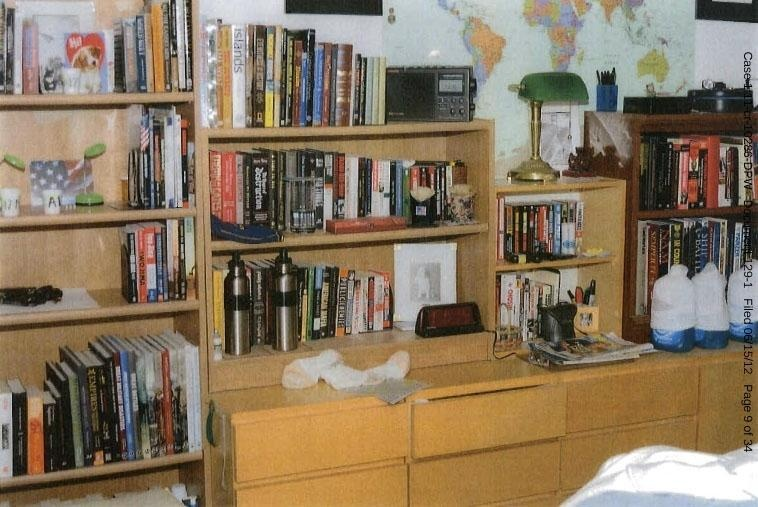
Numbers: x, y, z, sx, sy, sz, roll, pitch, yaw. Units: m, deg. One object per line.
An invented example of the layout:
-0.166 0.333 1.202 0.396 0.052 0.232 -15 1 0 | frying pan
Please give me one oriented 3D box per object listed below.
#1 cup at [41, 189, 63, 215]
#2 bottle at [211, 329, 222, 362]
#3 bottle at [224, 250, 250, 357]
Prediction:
-1.409 -0.227 3.664 0.100 0.106 0.083 0 2 2 | cup
-0.741 0.418 3.851 0.042 0.133 0.105 -2 6 -8 | bottle
-0.661 0.233 3.875 0.123 0.476 0.094 -2 6 -13 | bottle
